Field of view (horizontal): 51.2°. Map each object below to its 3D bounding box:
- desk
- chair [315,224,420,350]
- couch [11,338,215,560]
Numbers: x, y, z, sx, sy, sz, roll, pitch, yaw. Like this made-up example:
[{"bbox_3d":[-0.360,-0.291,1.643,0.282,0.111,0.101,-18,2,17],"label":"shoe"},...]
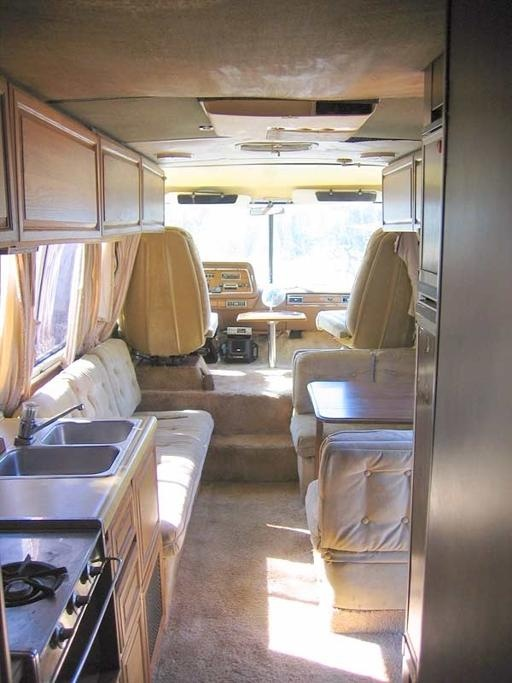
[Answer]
[{"bbox_3d":[0.148,-0.001,5.242,1.017,0.498,1.003,1,-2,-12],"label":"desk"},{"bbox_3d":[0.906,-0.421,4.251,0.768,0.893,0.651,0,12,3],"label":"chair"},{"bbox_3d":[-0.676,0.463,2.958,0.855,0.904,1.756,0,20,-3],"label":"couch"}]
